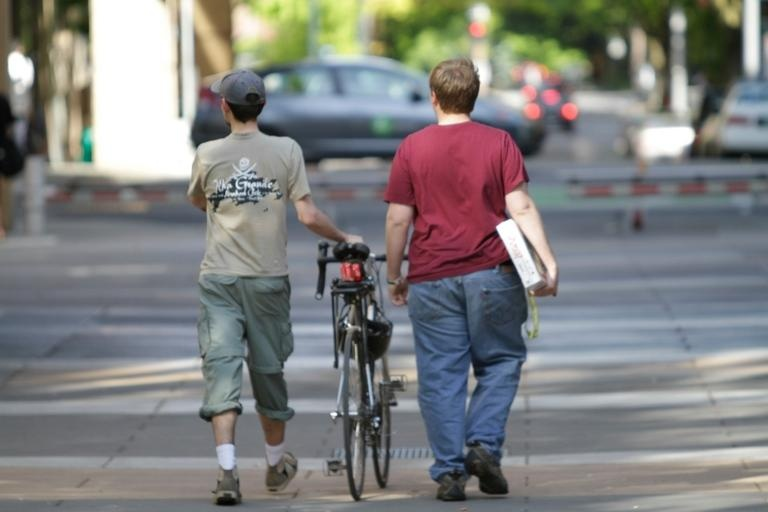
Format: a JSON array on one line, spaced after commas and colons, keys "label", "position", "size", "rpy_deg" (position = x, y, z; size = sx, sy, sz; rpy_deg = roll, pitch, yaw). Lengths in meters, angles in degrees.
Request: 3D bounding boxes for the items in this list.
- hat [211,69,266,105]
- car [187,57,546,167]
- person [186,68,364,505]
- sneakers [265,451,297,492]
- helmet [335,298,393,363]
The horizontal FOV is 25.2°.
[{"label": "hat", "position": [-1.254, -1.534, 14.911], "size": [0.419, 0.237, 0.626], "rpy_deg": [-6, 26, -24]}, {"label": "car", "position": [-0.465, -2.464, 28.425], "size": [4.759, 1.520, 2.119], "rpy_deg": [-2, 3, 1]}, {"label": "person", "position": [-1.273, 0.249, 14.782], "size": [0.942, 3.617, 1.267], "rpy_deg": [11, 16, 39]}, {"label": "sneakers", "position": [-0.871, 1.886, 15.033], "size": [0.176, 0.284, 0.433], "rpy_deg": [-1, 20, 15]}, {"label": "helmet", "position": [-0.133, 0.648, 15.088], "size": [0.396, 0.484, 0.516], "rpy_deg": [0, 16, -16]}]
